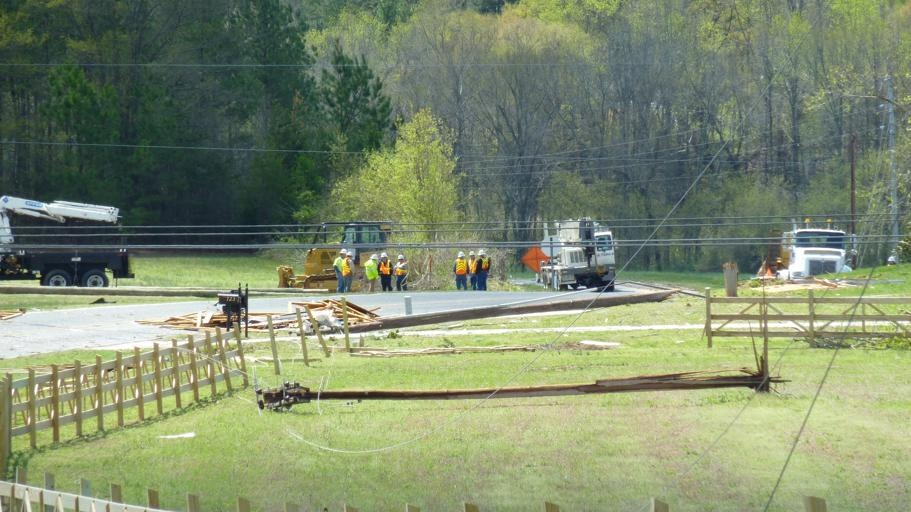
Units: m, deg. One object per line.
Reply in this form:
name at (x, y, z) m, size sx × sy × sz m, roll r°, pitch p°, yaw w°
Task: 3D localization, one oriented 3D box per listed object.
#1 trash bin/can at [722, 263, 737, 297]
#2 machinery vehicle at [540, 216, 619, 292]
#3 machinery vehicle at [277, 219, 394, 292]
trash bin/can at (21.170, 1.817, 118.050) m, size 0.751 × 2.735 × 0.816 m, roll -1°, pitch 16°, yaw 15°
machinery vehicle at (10.597, -0.210, 131.756) m, size 5.216 × 5.966 × 6.807 m, roll -1°, pitch 3°, yaw -13°
machinery vehicle at (-9.910, -0.059, 128.674) m, size 10.405 × 5.605 × 3.712 m, roll -1°, pitch 7°, yaw 17°
